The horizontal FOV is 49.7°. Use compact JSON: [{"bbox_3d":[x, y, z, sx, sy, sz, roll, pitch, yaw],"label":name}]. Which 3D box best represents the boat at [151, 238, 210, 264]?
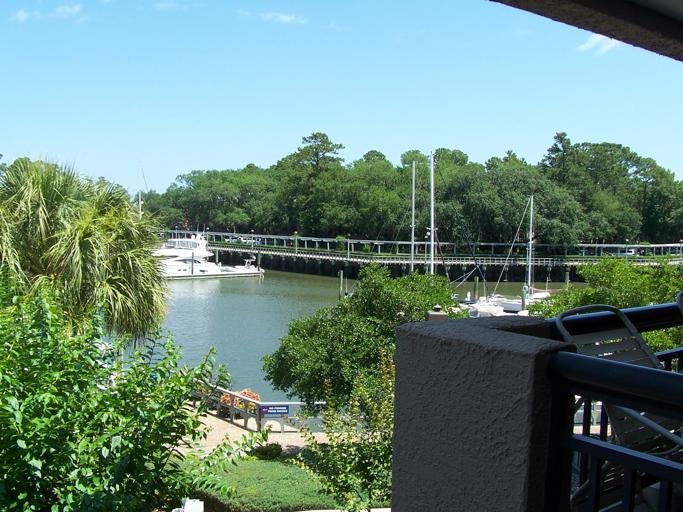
[{"bbox_3d":[-12.168,-0.350,57.755,3.222,1.438,2.450,-1,5,-18],"label":"boat"}]
